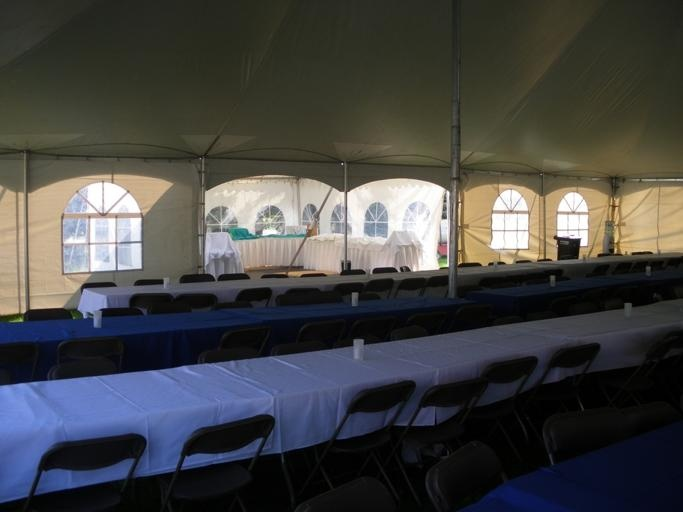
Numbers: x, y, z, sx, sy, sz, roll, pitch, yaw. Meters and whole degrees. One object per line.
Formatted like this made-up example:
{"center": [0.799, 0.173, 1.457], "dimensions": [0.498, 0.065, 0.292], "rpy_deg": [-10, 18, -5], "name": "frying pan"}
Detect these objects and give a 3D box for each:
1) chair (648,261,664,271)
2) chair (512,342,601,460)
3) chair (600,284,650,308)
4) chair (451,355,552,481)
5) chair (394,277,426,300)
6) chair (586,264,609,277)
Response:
{"center": [5.812, 0.182, 9.599], "dimensions": [0.142, 0.199, 0.157], "rpy_deg": [-1, 6, -17], "name": "chair"}
{"center": [1.693, 1.226, 4.119], "dimensions": [0.680, 0.941, 0.543], "rpy_deg": [-22, -50, 33], "name": "chair"}
{"center": [3.610, 0.504, 6.643], "dimensions": [0.245, 0.360, 0.229], "rpy_deg": [-4, 13, -17], "name": "chair"}
{"center": [1.101, 1.086, 3.895], "dimensions": [0.626, 1.085, 0.758], "rpy_deg": [-3, 5, -30], "name": "chair"}
{"center": [0.948, 0.431, 7.375], "dimensions": [0.294, 0.547, 0.367], "rpy_deg": [-2, 8, -24], "name": "chair"}
{"center": [4.354, 0.246, 8.850], "dimensions": [0.161, 0.304, 0.194], "rpy_deg": [-3, 8, -20], "name": "chair"}
